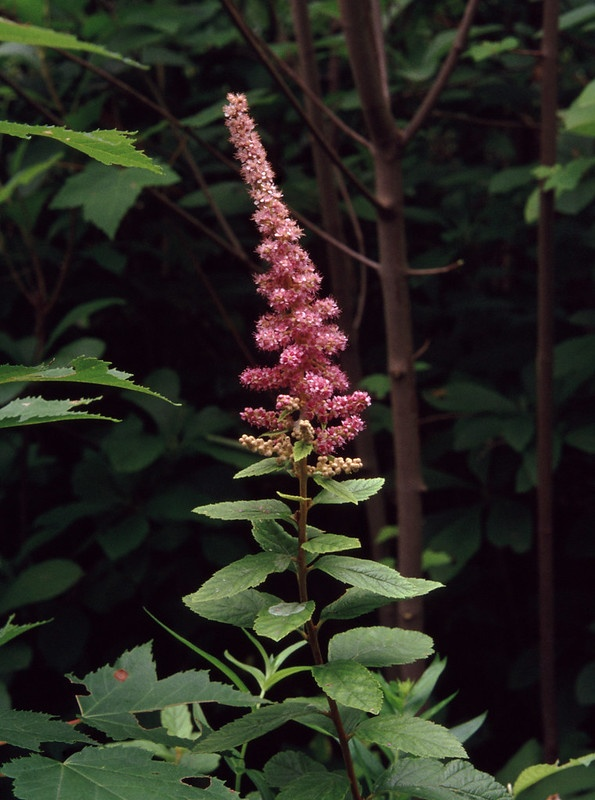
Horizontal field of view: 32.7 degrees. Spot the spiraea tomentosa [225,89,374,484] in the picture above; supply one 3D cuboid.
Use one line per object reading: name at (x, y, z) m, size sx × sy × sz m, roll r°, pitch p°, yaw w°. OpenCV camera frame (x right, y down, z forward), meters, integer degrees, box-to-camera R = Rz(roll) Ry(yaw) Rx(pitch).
spiraea tomentosa at (-0.014, -0.130, 1.290) m, size 0.151 × 0.410 × 0.410 m, roll -11°, pitch -3°, yaw 3°
